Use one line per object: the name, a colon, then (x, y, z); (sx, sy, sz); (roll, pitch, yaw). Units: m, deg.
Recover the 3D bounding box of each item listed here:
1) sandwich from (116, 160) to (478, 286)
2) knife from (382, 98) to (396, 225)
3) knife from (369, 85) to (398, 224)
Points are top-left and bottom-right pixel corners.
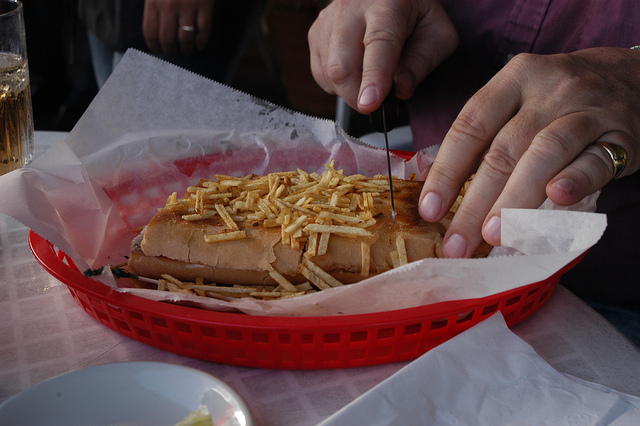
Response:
sandwich: (-0.048, 0.032, 1.302); (0.829, 0.227, 0.384); (-6, 26, 8)
knife: (0.191, -0.139, 1.360); (0.009, 0.018, 0.351); (-1, 88, -26)
knife: (0.164, -0.177, 1.283); (0.059, 0.063, 0.408); (-2, 81, -5)
